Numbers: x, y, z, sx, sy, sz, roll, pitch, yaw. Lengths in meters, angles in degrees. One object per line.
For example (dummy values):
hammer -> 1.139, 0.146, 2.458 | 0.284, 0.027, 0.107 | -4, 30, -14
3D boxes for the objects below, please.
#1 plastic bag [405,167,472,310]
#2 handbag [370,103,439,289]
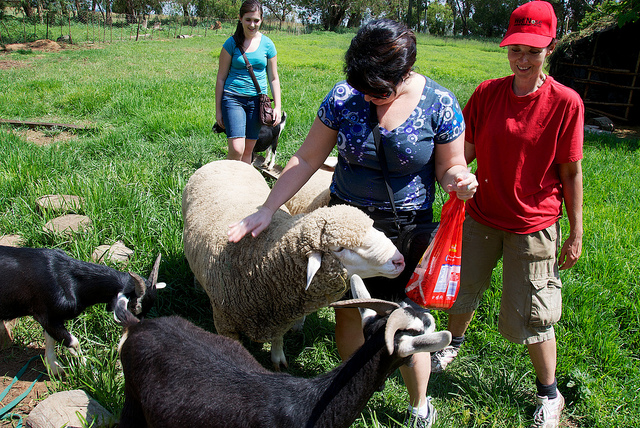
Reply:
plastic bag -> 0.883, 0.265, 3.370 | 0.323, 0.865, 0.452 | 17, 21, 30
handbag -> 0.537, -0.293, 3.243 | 0.501, 0.326, 0.899 | 15, 53, -2
